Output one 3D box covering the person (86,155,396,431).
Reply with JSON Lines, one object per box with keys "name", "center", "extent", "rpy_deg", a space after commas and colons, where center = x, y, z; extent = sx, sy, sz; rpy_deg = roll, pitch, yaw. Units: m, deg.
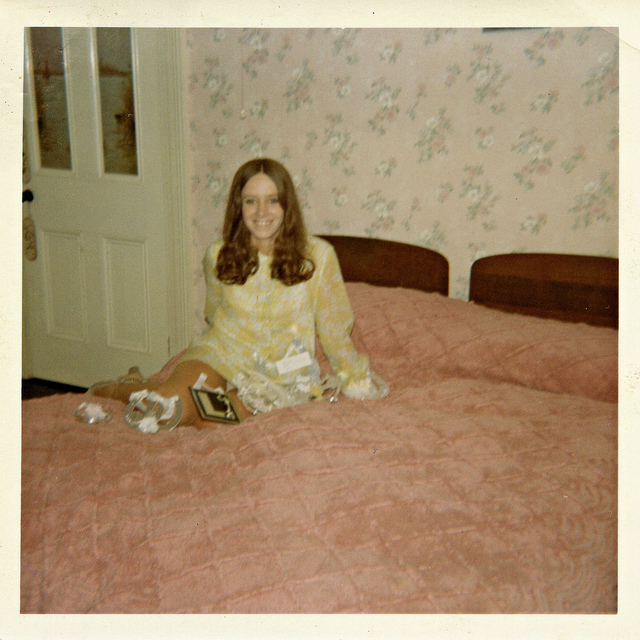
{"name": "person", "center": [-0.275, -0.123, 1.899], "extent": [0.955, 0.931, 0.618], "rpy_deg": [-2, -2, -11]}
